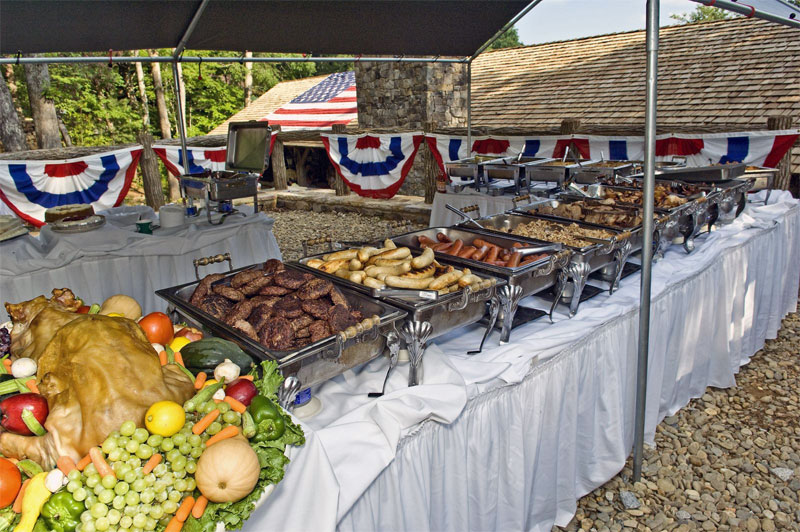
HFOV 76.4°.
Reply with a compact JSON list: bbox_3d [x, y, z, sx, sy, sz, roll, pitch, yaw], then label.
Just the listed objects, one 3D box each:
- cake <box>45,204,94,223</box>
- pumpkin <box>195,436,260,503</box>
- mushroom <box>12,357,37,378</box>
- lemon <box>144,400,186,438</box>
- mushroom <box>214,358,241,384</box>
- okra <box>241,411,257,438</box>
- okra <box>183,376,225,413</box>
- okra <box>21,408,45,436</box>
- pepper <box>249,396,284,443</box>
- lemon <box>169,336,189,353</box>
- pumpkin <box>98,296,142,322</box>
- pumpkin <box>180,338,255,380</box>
[{"bbox_3d":[-2.818,-0.455,4.352,0.279,0.059,0.276,-11,14,-40],"label":"cake"},{"bbox_3d":[-0.599,0.723,1.890,0.234,0.197,0.210,-9,12,-10],"label":"pumpkin"},{"bbox_3d":[-1.454,0.393,1.975,0.068,0.063,0.076,17,26,40],"label":"mushroom"},{"bbox_3d":[-0.853,0.559,1.844,0.084,0.085,0.100,28,17,21],"label":"lemon"},{"bbox_3d":[-0.725,0.435,2.127,0.085,0.051,0.087,-5,22,-13],"label":"mushroom"},{"bbox_3d":[-0.568,0.595,1.921,0.050,0.041,0.089,-11,51,-17],"label":"okra"},{"bbox_3d":[-0.767,0.506,2.007,0.055,0.046,0.170,41,35,8],"label":"okra"},{"bbox_3d":[-1.310,0.560,1.824,0.085,0.099,0.039,12,25,31],"label":"okra"},{"bbox_3d":[-0.490,0.582,1.982,0.151,0.138,0.226,6,5,-12],"label":"pepper"},{"bbox_3d":[-1.023,0.358,2.353,0.071,0.084,0.065,-28,60,12],"label":"lemon"},{"bbox_3d":[-1.355,0.211,2.474,0.153,0.104,0.187,-16,24,-37],"label":"pumpkin"},{"bbox_3d":[-0.794,0.380,2.226,0.242,0.128,0.179,20,9,21],"label":"pumpkin"}]
